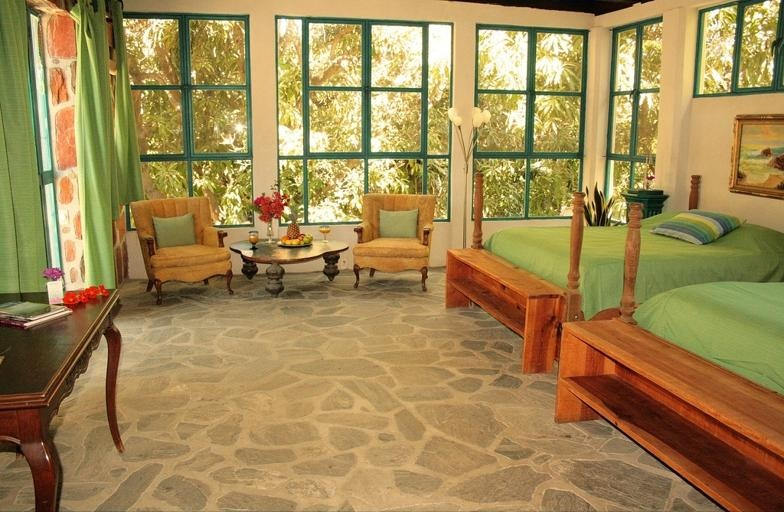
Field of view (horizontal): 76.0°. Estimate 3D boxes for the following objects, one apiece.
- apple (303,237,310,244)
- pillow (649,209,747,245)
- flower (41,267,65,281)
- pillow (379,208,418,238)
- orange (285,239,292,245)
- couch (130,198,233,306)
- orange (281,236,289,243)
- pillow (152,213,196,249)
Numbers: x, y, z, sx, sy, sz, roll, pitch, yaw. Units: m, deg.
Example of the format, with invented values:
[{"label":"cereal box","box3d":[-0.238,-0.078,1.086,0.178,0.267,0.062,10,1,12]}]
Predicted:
[{"label":"apple","box3d":[-1.277,-0.230,7.559,0.113,0.090,0.110,-5,10,-1]},{"label":"pillow","box3d":[3.824,-0.371,6.360,0.618,0.154,0.638,-25,24,-25]},{"label":"flower","box3d":[-2.735,0.150,4.035,0.169,0.139,0.168,9,-5,-43]},{"label":"pillow","box3d":[0.107,-0.504,8.072,0.605,0.354,0.183,1,9,5]},{"label":"orange","box3d":[-1.562,-0.203,7.531,0.105,0.036,0.094,1,11,-19]},{"label":"couch","box3d":[-2.903,-0.174,7.976,1.738,1.618,1.761,-6,8,-31]},{"label":"orange","box3d":[-1.618,-0.237,7.619,0.121,0.097,0.125,10,9,44]},{"label":"pillow","box3d":[-3.220,-0.353,7.364,0.649,0.440,0.221,-5,-1,-33]}]
